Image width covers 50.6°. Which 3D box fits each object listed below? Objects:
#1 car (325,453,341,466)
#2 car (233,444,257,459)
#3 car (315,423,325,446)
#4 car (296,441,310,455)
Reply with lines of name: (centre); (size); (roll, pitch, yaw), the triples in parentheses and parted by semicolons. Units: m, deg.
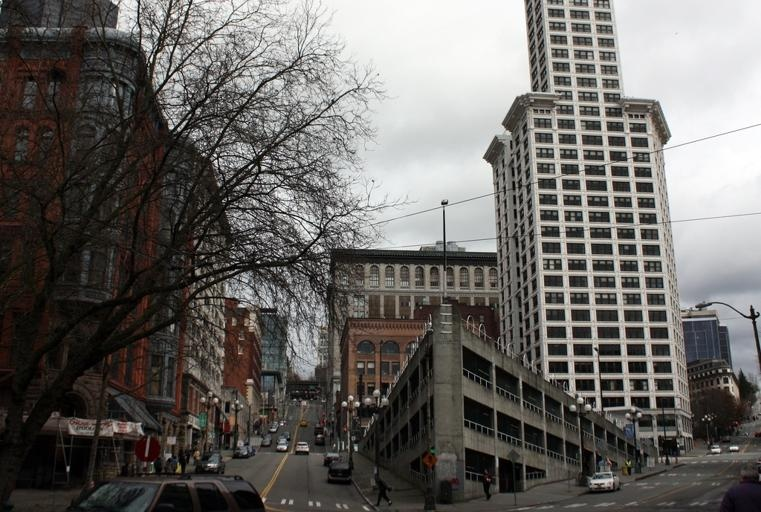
car: (-4.033, 17.011, 67.536); (1.533, 1.173, 2.680); (3, -8, -7)
car: (-13.645, 19.789, 80.398); (1.318, 0.857, 2.737); (1, -4, 0)
car: (-9.061, 26.927, 118.964); (1.689, 1.843, 6.524); (0, -10, -1)
car: (-8.676, 21.303, 88.820); (1.195, 1.120, 2.489); (0, -27, -3)
